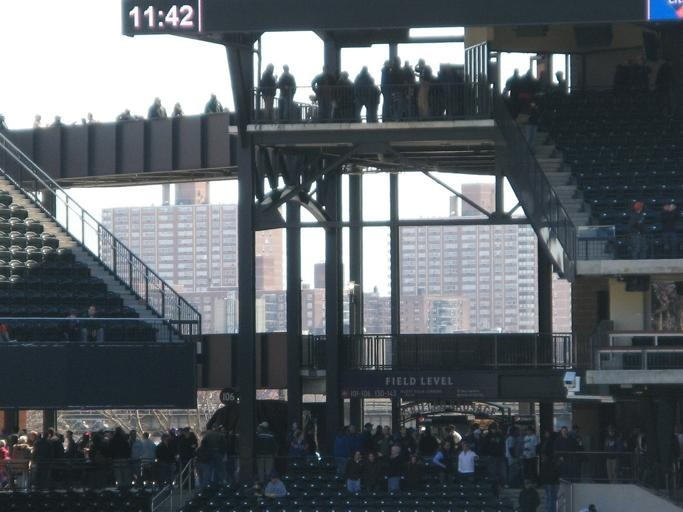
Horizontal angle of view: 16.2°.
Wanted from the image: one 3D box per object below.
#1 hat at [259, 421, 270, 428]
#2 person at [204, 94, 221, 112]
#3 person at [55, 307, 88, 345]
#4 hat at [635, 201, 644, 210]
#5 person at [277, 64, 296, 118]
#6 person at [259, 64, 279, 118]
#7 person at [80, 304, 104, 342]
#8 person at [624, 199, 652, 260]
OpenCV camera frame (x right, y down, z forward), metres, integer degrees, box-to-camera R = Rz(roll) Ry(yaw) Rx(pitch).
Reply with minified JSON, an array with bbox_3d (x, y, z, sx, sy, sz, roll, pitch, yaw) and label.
[{"bbox_3d":[-2.477,5.597,78.719,0.195,0.159,0.312,1,6,-25],"label":"hat"},{"bbox_3d":[-4.762,-5.423,88.953,0.500,0.832,0.624,-10,-13,36],"label":"person"},{"bbox_3d":[-8.816,2.426,78.232,0.774,1.062,0.346,2,1,-13],"label":"person"},{"bbox_3d":[9.994,-1.463,78.280,0.308,0.356,0.403,2,9,2],"label":"hat"},{"bbox_3d":[-1.720,-5.098,78.520,0.577,1.847,0.466,-1,-11,-3],"label":"person"},{"bbox_3d":[-2.329,-5.148,78.630,0.589,1.807,0.455,-1,-11,-3],"label":"person"},{"bbox_3d":[-8.258,2.337,78.758,0.870,1.613,0.932,1,-14,-18],"label":"person"},{"bbox_3d":[9.922,-0.767,77.844,0.837,2.083,0.776,-9,35,-1],"label":"person"}]
